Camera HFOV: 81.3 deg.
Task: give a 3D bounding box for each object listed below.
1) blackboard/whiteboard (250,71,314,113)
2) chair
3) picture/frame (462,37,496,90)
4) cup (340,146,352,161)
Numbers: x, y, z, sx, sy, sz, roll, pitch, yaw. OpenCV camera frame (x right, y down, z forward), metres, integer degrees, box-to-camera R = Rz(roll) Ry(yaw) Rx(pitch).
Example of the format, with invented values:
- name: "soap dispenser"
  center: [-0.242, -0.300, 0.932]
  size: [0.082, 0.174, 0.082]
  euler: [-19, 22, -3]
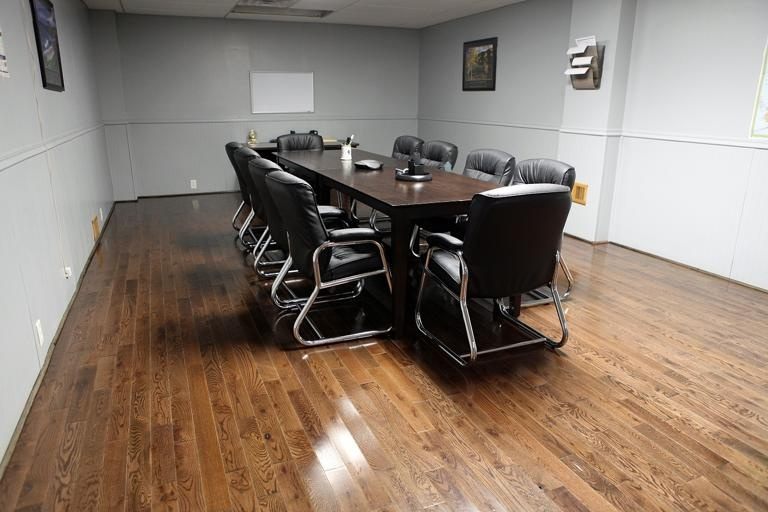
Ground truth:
- name: "blackboard/whiteboard"
  center: [-1.914, -3.047, 8.201]
  size: [0.762, 0.520, 0.070]
  euler: [-6, 23, -16]
- name: "chair"
  center: [0.162, -0.102, 3.665]
  size: [1.948, 1.305, 2.381]
  euler: [-14, 24, -33]
- name: "picture/frame"
  center: [1.557, -3.139, 7.346]
  size: [0.030, 0.878, 0.824]
  euler: [-19, 30, -28]
- name: "cup"
  center: [-0.447, -1.237, 5.409]
  size: [0.175, 0.188, 0.182]
  euler: [3, 16, -1]
